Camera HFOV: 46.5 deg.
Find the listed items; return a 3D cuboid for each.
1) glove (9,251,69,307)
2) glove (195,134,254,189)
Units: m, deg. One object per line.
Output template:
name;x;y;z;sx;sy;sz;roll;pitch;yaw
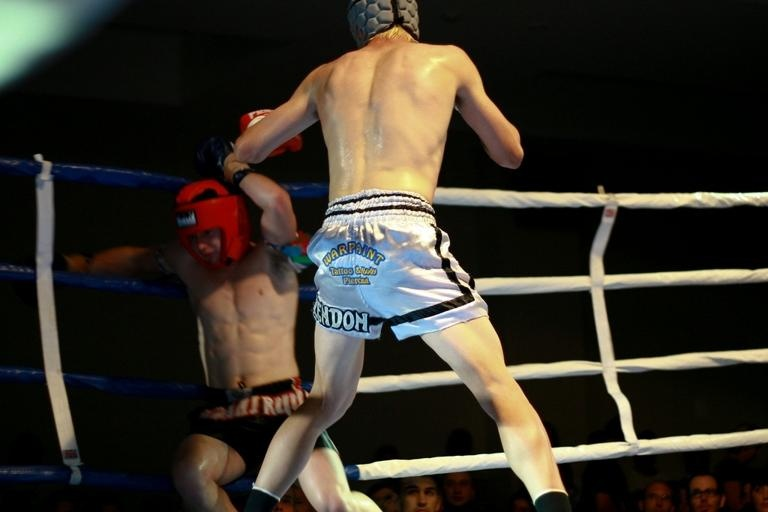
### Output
glove;-1.940;0.138;5.032;0.300;0.282;0.204;-4;14;-20
glove;-0.971;-0.555;5.158;0.392;0.230;0.162;32;-8;25
